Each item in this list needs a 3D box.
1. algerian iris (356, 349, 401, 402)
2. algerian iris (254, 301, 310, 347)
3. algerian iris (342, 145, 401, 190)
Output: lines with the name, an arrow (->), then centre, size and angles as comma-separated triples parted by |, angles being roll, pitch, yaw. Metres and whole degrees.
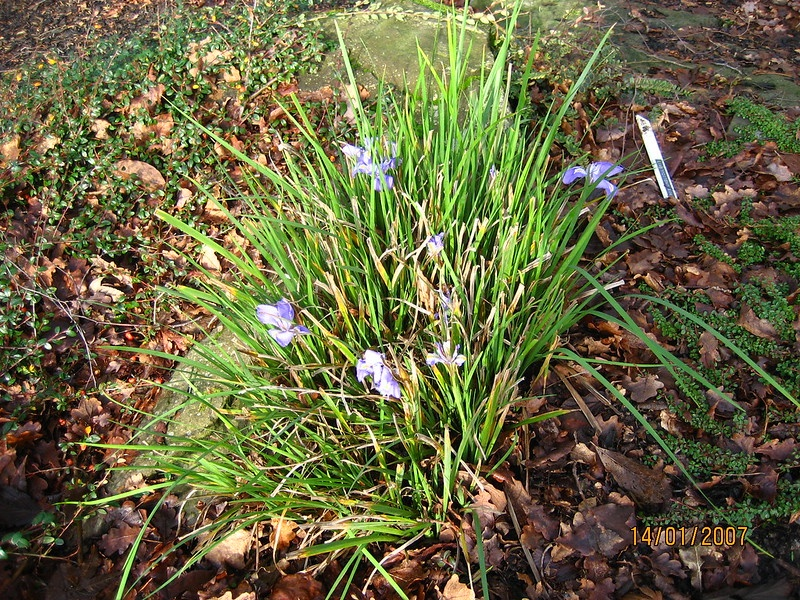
algerian iris -> -0.083, 0.309, 2.439 | 0.090, 0.201, 0.204 | -25, 27, 34
algerian iris -> -0.494, 0.100, 2.433 | 0.183, 0.091, 0.194 | 16, 62, 25
algerian iris -> -0.125, -0.636, 2.774 | 0.090, 0.237, 0.237 | -50, 50, 23
